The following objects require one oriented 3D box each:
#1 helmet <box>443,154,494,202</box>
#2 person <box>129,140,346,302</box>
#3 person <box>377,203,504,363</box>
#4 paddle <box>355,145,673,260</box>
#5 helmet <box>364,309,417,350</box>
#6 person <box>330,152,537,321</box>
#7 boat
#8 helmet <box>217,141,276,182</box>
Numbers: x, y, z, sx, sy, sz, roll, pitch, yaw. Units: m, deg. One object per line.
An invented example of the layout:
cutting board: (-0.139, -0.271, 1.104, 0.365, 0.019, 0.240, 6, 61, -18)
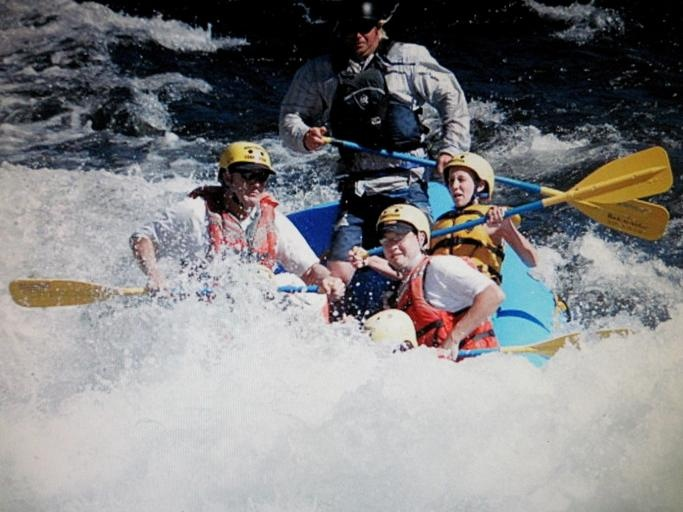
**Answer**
helmet: (0.902, -0.571, 6.481, 0.248, 0.341, 0.258, 11, 48, 42)
person: (-0.662, -0.242, 5.981, 1.286, 0.645, 0.731, 4, 44, -9)
person: (0.613, 0.188, 5.831, 0.292, 0.402, 0.816, 15, 19, -32)
paddle: (1.206, -0.351, 6.621, 2.115, 0.363, 0.312, -18, -10, 20)
helmet: (0.297, 0.427, 5.563, 0.267, 0.206, 0.218, 0, 13, 1)
person: (0.558, -0.103, 6.239, 0.985, 0.569, 1.558, 5, 45, 45)
boat: (0.592, 0.402, 6.365, 1.703, 1.043, 0.337, -6, -8, -35)
helmet: (-0.635, -0.612, 6.028, 0.277, 0.138, 0.208, 1, 4, 33)
